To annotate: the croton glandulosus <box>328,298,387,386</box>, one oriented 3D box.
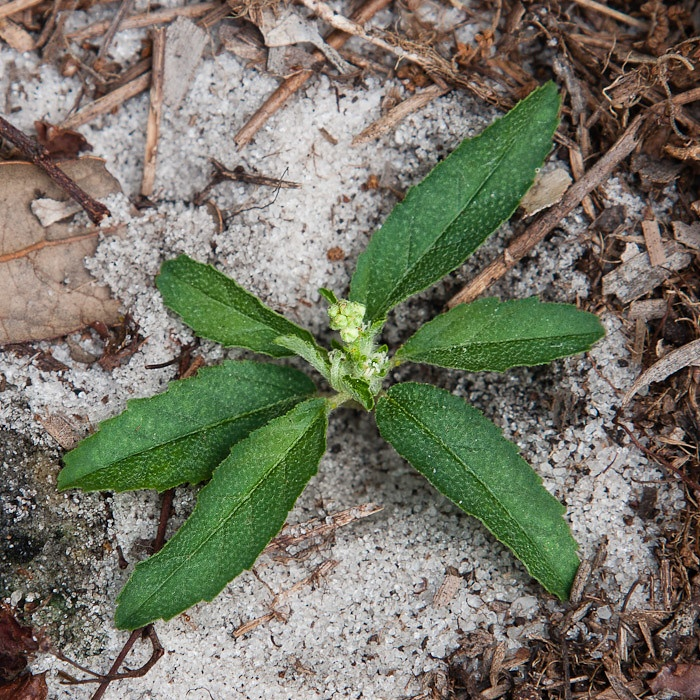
[{"bbox_3d":[0.022,-0.023,2.104,0.150,0.207,0.137,-36,57,-11],"label":"croton glandulosus"}]
